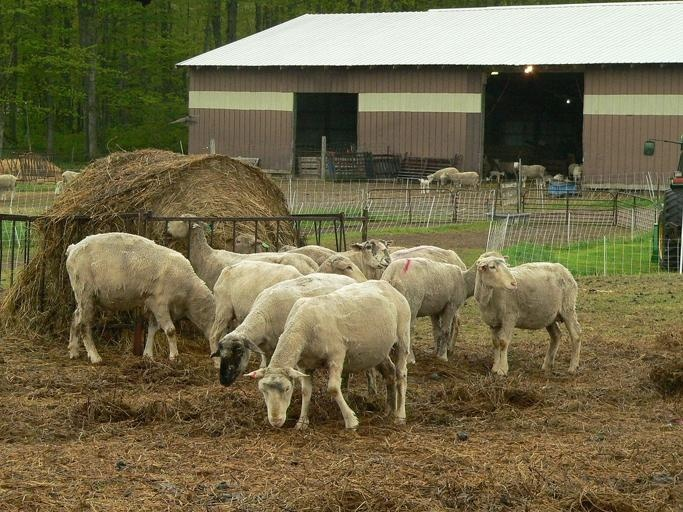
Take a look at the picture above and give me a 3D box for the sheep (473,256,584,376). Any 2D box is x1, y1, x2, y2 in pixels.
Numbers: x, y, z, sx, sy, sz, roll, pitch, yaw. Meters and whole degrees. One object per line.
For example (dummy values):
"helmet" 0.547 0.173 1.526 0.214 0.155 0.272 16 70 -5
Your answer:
"sheep" 3.436 1.115 21.053 2.349 2.355 1.193 2 5 -16

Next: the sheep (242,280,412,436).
"sheep" -0.012 1.641 18.374 3.053 2.574 1.305 -5 6 -42

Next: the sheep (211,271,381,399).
"sheep" -0.954 1.180 18.636 3.061 1.831 1.113 -24 22 -37
